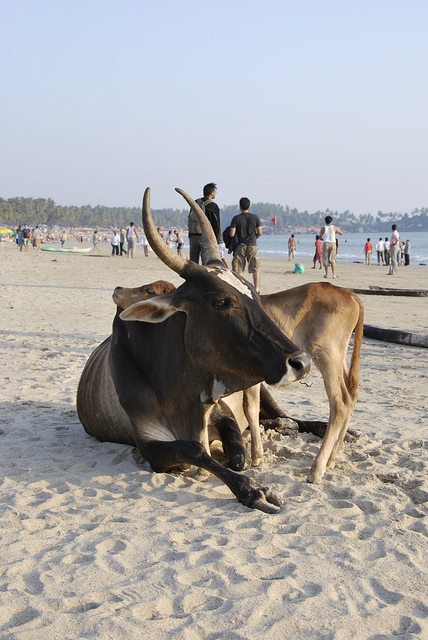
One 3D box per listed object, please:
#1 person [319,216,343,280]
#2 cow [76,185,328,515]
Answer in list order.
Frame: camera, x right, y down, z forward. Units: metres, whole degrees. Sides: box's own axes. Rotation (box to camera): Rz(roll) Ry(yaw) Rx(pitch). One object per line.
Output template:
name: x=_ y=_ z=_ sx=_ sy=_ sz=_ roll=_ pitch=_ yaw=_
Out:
person: x=4.122 y=-2.626 z=21.683 sx=0.866 sy=2.150 sz=0.810 roll=-3 pitch=6 yaw=-12
cow: x=-0.108 y=0.118 z=4.011 sx=1.503 sy=1.912 sz=1.883 roll=0 pitch=5 yaw=-7
